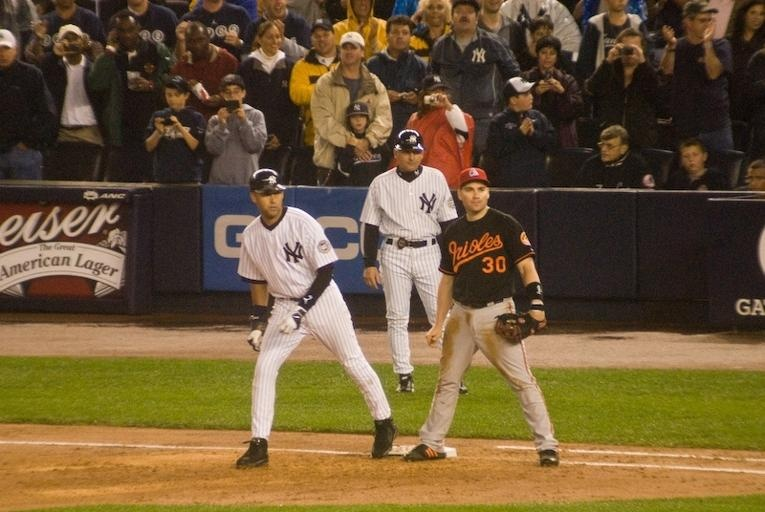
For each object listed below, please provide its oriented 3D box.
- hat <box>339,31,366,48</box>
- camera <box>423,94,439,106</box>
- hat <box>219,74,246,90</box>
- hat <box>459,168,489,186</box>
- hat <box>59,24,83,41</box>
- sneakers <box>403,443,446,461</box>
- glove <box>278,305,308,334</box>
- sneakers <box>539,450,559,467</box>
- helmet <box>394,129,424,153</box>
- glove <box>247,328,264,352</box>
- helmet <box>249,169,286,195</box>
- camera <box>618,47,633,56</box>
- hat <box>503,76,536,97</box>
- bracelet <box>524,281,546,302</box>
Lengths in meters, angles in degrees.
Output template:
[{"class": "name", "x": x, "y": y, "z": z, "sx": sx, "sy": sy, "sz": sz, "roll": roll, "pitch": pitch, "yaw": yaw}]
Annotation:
[{"class": "hat", "x": -0.500, "y": -3.462, "z": 17.973, "sx": 0.352, "sy": 0.283, "sz": 0.360, "roll": 0, "pitch": 1, "yaw": -12}, {"class": "camera", "x": 0.753, "y": -2.397, "z": 17.391, "sx": 0.221, "sy": 0.117, "sz": 0.203, "roll": -5, "pitch": -5, "yaw": 6}, {"class": "hat", "x": -2.439, "y": -2.840, "z": 18.391, "sx": 0.409, "sy": 0.266, "sz": 0.295, "roll": 0, "pitch": 1, "yaw": -19}, {"class": "hat", "x": 1.016, "y": -0.917, "z": 12.861, "sx": 0.274, "sy": 0.172, "sz": 0.350, "roll": -1, "pitch": -14, "yaw": -5}, {"class": "hat", "x": -5.348, "y": -3.867, "z": 19.278, "sx": 0.373, "sy": 0.098, "sz": 0.332, "roll": 10, "pitch": 25, "yaw": 26}, {"class": "sneakers", "x": 0.469, "y": 2.256, "z": 12.888, "sx": 0.510, "sy": 0.181, "sz": 0.173, "roll": 3, "pitch": 1, "yaw": -14}, {"class": "glove", "x": -0.995, "y": 0.743, "z": 12.635, "sx": 0.209, "sy": 0.369, "sz": 0.110, "roll": 35, "pitch": -34, "yaw": 8}, {"class": "sneakers", "x": 1.868, "y": 2.276, "z": 12.678, "sx": 0.222, "sy": 0.213, "sz": 0.194, "roll": 0, "pitch": 1, "yaw": 10}, {"class": "helmet", "x": 0.340, "y": -1.474, "z": 14.567, "sx": 0.334, "sy": 0.286, "sz": 0.193, "roll": 0, "pitch": 1, "yaw": -12}, {"class": "glove", "x": -1.437, "y": 0.965, "z": 12.887, "sx": 0.220, "sy": 0.226, "sz": 0.266, "roll": 1, "pitch": -3, "yaw": -3}, {"class": "helmet", "x": -1.373, "y": -0.827, "z": 12.753, "sx": 0.278, "sy": 0.168, "sz": 0.352, "roll": -7, "pitch": 5, "yaw": -31}, {"class": "camera", "x": 3.954, "y": -3.300, "z": 18.158, "sx": 0.243, "sy": 0.147, "sz": 0.125, "roll": 0, "pitch": 0, "yaw": 4}, {"class": "hat", "x": 2.186, "y": -2.681, "z": 17.968, "sx": 0.430, "sy": 0.208, "sz": 0.297, "roll": -12, "pitch": 11, "yaw": 16}, {"class": "bracelet", "x": 1.710, "y": 0.415, "z": 12.703, "sx": 0.180, "sy": 0.223, "sz": 0.305, "roll": 0, "pitch": 1, "yaw": 4}]
